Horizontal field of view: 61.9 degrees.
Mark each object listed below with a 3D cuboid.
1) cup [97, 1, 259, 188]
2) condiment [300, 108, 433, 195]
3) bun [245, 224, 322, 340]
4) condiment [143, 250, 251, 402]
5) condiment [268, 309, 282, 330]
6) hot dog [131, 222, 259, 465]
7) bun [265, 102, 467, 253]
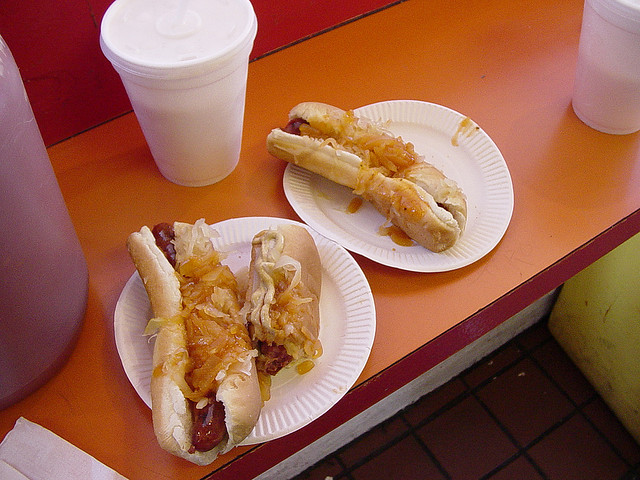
[{"bbox_3d":[-0.308,-0.458,1.417,0.364,0.445,0.433,-1,58,-5],"label":"cup"},{"bbox_3d":[0.116,-0.300,1.493,0.328,0.228,0.345,-9,29,-20],"label":"condiment"},{"bbox_3d":[-0.052,0.074,1.158,0.133,0.057,0.263,19,56,-28],"label":"bun"},{"bbox_3d":[-0.243,0.184,1.170,0.203,0.151,0.432,-14,41,-15],"label":"condiment"},{"bbox_3d":[-0.090,0.156,1.065,0.021,0.018,0.046,-11,66,-6],"label":"condiment"},{"bbox_3d":[-0.299,0.191,1.150,0.220,0.153,0.522,-10,64,-29],"label":"hot dog"},{"bbox_3d":[0.135,-0.187,1.381,0.562,0.124,0.213,32,68,13],"label":"bun"}]
